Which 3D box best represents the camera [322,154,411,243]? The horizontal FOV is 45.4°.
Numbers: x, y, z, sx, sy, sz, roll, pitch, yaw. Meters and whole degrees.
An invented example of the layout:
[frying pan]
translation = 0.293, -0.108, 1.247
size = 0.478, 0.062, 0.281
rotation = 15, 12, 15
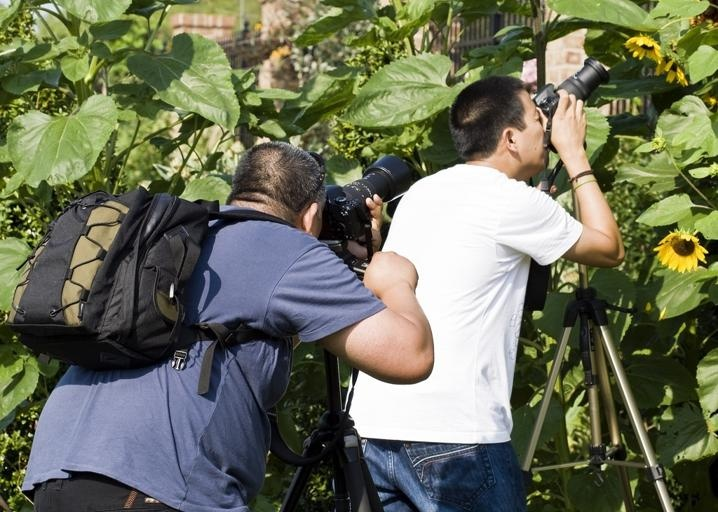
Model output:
[camera]
translation = 0.040, -0.249, 3.643
size = 0.206, 0.207, 0.537
rotation = 27, 29, 6
